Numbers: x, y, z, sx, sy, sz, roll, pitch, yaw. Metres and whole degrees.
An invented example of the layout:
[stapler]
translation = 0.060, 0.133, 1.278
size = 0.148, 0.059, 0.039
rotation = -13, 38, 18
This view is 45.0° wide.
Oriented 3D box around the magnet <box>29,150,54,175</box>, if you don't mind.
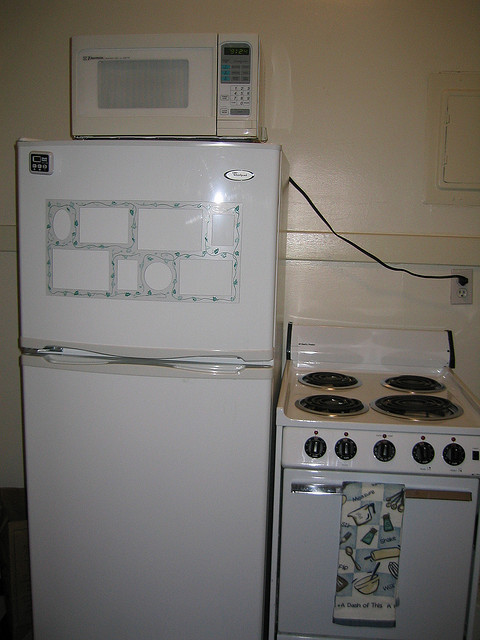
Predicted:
[magnet]
translation = -0.476, -0.382, 1.398
size = 0.052, 0.052, 0.018
rotation = 4, 7, 6
